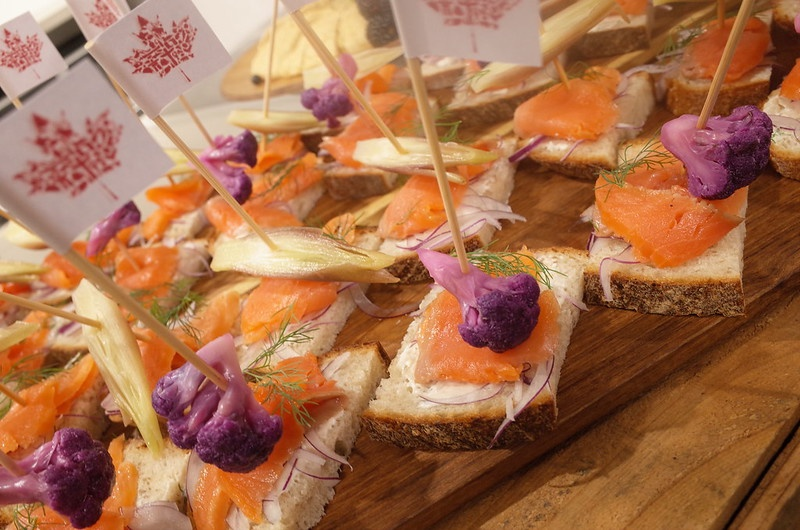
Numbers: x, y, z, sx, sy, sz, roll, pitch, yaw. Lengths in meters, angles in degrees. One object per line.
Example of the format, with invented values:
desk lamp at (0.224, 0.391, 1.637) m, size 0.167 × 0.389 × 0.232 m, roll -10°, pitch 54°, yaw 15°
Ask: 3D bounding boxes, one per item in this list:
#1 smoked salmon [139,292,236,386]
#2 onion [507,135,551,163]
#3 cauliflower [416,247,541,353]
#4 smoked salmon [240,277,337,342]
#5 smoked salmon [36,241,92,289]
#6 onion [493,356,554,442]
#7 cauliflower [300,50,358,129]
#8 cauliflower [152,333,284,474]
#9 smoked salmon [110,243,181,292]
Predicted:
smoked salmon at (-0.952, 0.337, 2.875) m, size 0.410 × 0.147 × 0.410 m, roll -23°, pitch 17°, yaw 14°
onion at (0.654, -0.589, 3.077) m, size 0.235 × 0.035 × 0.025 m, roll -40°, pitch 43°, yaw 25°
cauliflower at (0.310, 0.120, 2.370) m, size 0.297 × 0.184 × 0.406 m, roll -43°, pitch 78°, yaw -11°
smoked salmon at (-0.516, 0.245, 2.873) m, size 0.340 × 0.089 × 0.338 m, roll -15°, pitch 30°, yaw 4°
smoked salmon at (-1.686, 0.013, 3.059) m, size 0.241 × 0.090 × 0.246 m, roll 30°, pitch 62°, yaw 14°
onion at (0.476, 0.513, 2.345) m, size 0.053 × 0.190 × 0.299 m, roll 37°, pitch 83°, yaw -4°
cauliflower at (-0.367, -0.912, 3.317) m, size 0.283 × 0.202 × 0.361 m, roll 17°, pitch 80°, yaw 3°
cauliflower at (-0.647, 0.564, 2.223) m, size 0.361 × 0.500 × 0.299 m, roll -32°, pitch 36°, yaw -14°
smoked salmon at (-1.388, -0.001, 3.396) m, size 0.274 × 0.108 × 0.288 m, roll 4°, pitch 38°, yaw 10°
